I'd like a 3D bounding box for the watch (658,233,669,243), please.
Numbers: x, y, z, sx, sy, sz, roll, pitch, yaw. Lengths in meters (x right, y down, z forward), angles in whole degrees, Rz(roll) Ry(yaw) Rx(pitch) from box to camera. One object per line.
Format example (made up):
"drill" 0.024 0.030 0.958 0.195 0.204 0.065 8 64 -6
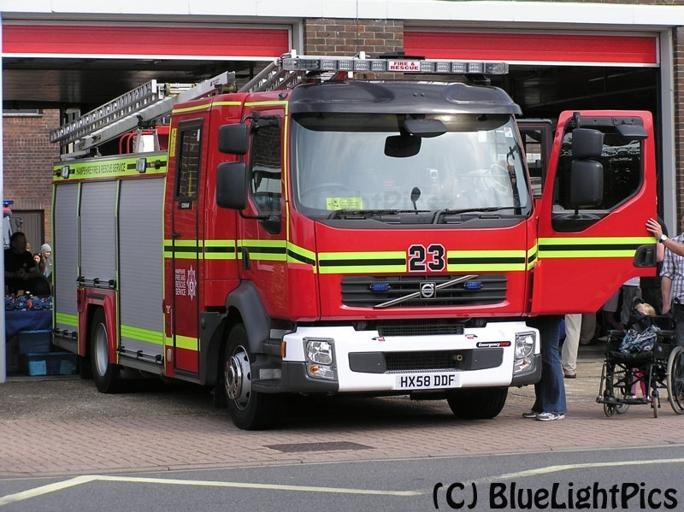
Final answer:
"watch" 3.488 -0.196 10.070 0.081 0.115 0.111 23 -22 -18

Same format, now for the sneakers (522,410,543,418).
"sneakers" 2.122 1.768 10.328 0.193 0.073 0.067 1 -3 -6

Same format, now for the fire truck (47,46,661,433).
"fire truck" -0.781 -0.197 12.186 3.970 3.274 8.220 2 -3 -31

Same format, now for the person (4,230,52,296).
"person" -5.781 0.143 16.726 0.983 1.091 0.753 2 4 34

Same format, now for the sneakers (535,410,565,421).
"sneakers" 2.280 1.747 10.122 0.299 0.122 0.102 3 -2 -15
